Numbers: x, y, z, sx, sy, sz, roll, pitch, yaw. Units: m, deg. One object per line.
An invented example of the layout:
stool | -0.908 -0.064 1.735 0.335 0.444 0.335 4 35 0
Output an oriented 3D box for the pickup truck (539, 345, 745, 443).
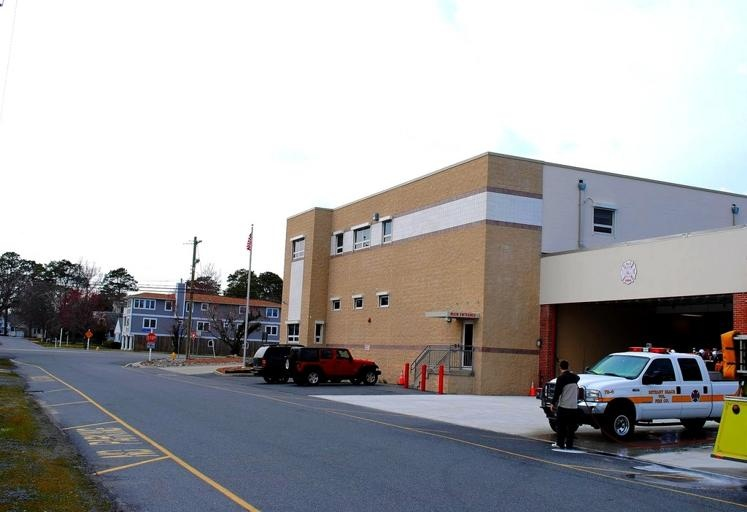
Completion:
pickup truck | 7.790 4.071 18.929 5.147 2.277 2.786 7 -12 -24

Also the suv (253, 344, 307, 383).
suv | -5.149 5.990 35.601 3.066 1.599 1.653 0 -3 -25

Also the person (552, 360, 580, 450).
person | 5.111 3.933 16.559 0.591 2.244 0.839 1 -5 14

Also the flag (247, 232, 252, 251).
flag | -9.171 -1.054 46.189 0.222 1.223 0.955 4 -6 -20
